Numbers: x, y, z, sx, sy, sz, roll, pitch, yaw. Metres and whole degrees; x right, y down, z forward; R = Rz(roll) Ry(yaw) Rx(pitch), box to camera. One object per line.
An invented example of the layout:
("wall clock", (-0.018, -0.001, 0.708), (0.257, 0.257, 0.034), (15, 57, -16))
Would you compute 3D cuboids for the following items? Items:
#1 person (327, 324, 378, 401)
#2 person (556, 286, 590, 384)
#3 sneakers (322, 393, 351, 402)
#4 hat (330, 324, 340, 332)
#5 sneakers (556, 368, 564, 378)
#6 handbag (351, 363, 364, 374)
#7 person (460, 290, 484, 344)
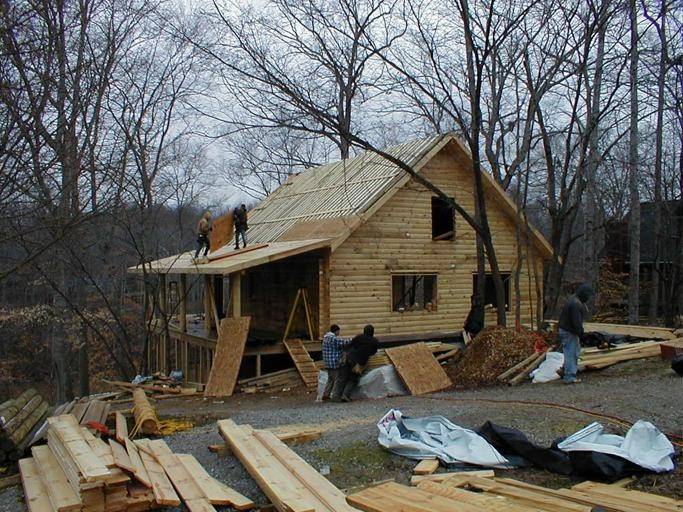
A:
("person", (0.318, 2.836, 16.034), (1.273, 1.902, 0.437), (-5, 6, -5))
("person", (5.668, 1.892, 14.561), (0.763, 2.414, 0.607), (-3, 6, 18))
("sneakers", (-0.128, 3.695, 15.970), (0.727, 0.270, 0.231), (-2, -8, -3))
("hat", (-0.158, 1.961, 16.336), (0.249, 0.206, 0.231), (-3, 6, -7))
("sneakers", (5.535, 2.934, 15.226), (0.210, 0.172, 0.195), (-1, 1, -16))
("handbag", (0.447, 2.966, 15.945), (0.277, 0.259, 0.277), (-11, -17, 9))
("person", (4.456, 2.141, 20.616), (0.755, 1.637, 0.969), (-2, 6, 20))
